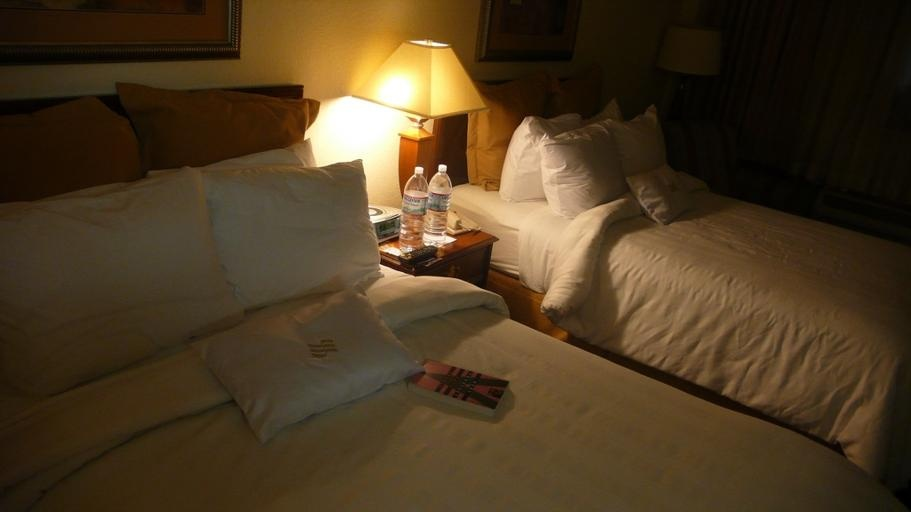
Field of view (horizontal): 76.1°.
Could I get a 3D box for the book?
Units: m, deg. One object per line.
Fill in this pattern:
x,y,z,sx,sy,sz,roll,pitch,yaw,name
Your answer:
0.020,0.537,2.402,0.357,0.059,0.190,16,31,8,book

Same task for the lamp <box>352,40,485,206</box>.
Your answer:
-0.089,-0.798,3.341,0.611,0.774,0.622,33,45,27,lamp

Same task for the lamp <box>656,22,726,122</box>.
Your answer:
2.183,-1.674,5.395,0.617,0.846,0.606,13,26,31,lamp

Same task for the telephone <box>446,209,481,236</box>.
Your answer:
0.027,-0.190,3.555,0.169,0.050,0.166,-17,29,-42,telephone
